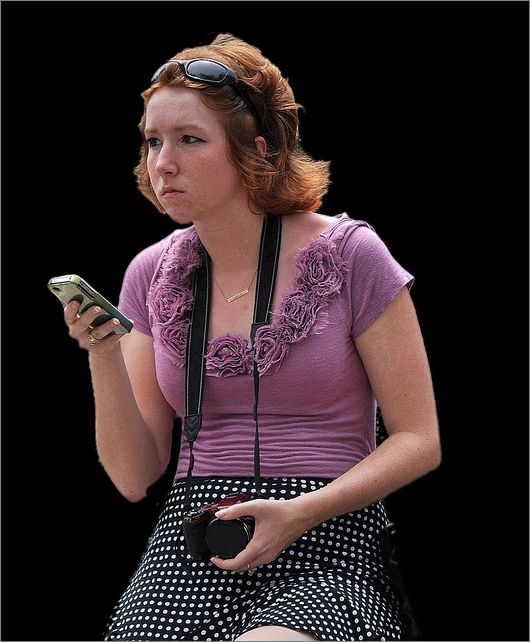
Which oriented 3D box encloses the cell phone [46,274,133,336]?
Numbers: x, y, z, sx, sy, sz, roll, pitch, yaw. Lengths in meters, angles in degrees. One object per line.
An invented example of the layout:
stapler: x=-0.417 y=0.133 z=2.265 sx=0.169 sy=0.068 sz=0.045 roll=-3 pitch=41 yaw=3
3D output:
cell phone: x=-0.403 y=-0.042 z=1.763 sx=0.131 sy=0.139 sz=0.162 roll=10 pitch=-13 yaw=21

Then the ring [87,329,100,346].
ring: x=-0.420 y=0.042 z=1.869 sx=0.027 sy=0.031 sz=0.034 roll=1 pitch=24 yaw=-5

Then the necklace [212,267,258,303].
necklace: x=-0.076 y=-0.094 z=2.018 sx=0.088 sy=0.007 sz=0.093 roll=-22 pitch=46 yaw=16
